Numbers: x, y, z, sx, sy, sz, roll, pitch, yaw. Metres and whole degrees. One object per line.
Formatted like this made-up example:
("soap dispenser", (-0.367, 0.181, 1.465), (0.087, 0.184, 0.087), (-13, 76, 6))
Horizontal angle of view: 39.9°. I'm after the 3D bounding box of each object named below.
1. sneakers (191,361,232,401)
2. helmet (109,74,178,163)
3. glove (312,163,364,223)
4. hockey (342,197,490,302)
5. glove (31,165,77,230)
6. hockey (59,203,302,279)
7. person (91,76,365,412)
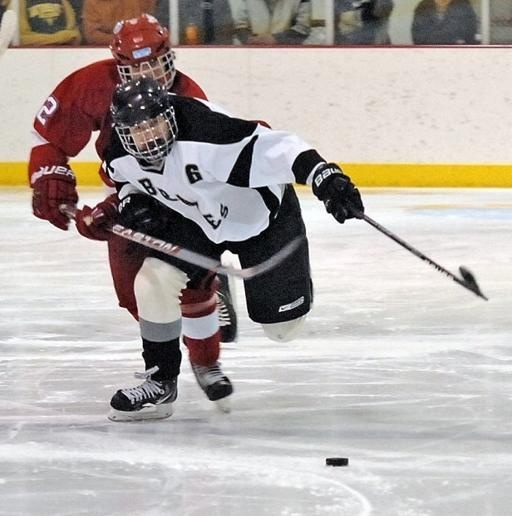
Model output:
("sneakers", (-0.125, 0.332, 1.923), (0.054, 0.051, 0.145), (-21, 30, -18))
("helmet", (-0.269, -0.331, 1.688), (0.152, 0.190, 0.108), (1, 16, 6))
("glove", (0.188, -0.147, 1.639), (0.114, 0.154, 0.161), (-1, 14, -1))
("hockey", (0.785, -0.038, 3.462), (0.584, 0.600, 0.112), (-22, 41, 56))
("glove", (-0.621, -0.181, 2.127), (0.203, 0.171, 0.087), (-5, -12, -17))
("hockey", (-0.234, -0.026, 1.854), (0.607, 0.020, 0.141), (13, 58, 9))
("person", (-0.102, -0.033, 1.816), (0.615, 0.848, 0.495), (-4, 16, -9))
